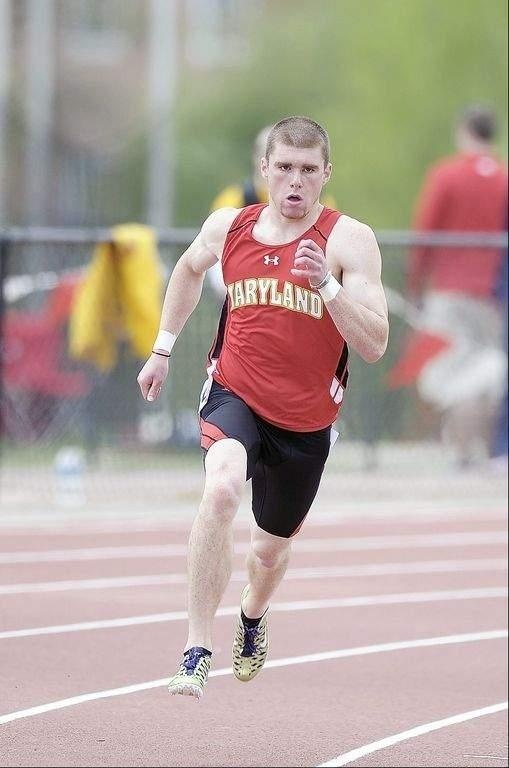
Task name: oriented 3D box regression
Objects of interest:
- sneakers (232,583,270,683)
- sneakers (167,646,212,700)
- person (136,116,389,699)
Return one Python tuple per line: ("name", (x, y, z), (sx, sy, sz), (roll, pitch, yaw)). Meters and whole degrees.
("sneakers", (-0.014, 0.743, 2.909), (0.106, 0.283, 0.118), (4, -6, -5))
("sneakers", (-0.137, 0.644, 2.154), (0.057, 0.066, 0.162), (8, -9, 8))
("person", (0.024, 0.071, 2.562), (0.663, 1.282, 0.884), (2, 1, -7))
